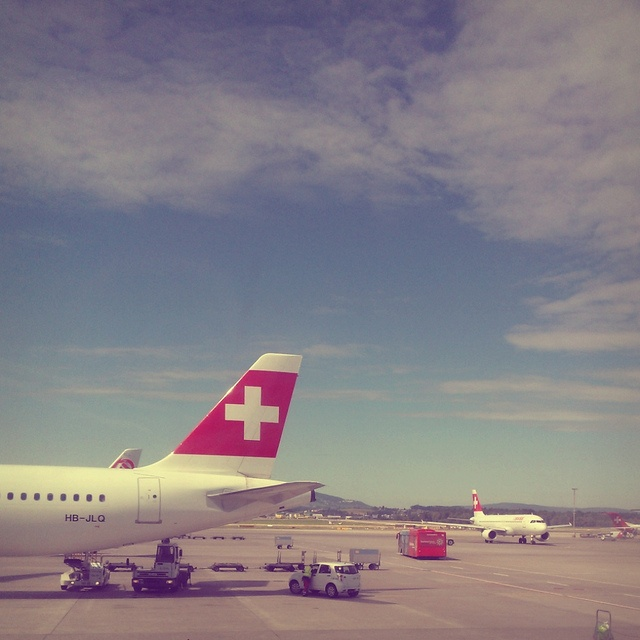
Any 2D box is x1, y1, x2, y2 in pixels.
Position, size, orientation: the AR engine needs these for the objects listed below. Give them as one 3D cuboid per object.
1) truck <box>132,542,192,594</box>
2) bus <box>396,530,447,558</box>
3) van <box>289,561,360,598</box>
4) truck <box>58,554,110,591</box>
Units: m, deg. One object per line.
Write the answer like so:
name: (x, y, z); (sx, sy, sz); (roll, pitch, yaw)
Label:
truck: (-8.441, 13.005, 38.965); (2.478, 1.907, 4.040); (1, -13, 3)
bus: (9.369, 20.297, 67.633); (2.441, 1.685, 6.234); (1, -7, -6)
van: (0.351, 13.412, 37.977); (3.447, 1.568, 1.013); (-6, -16, 27)
truck: (-12.801, 13.191, 38.434); (2.990, 1.083, 1.701); (-1, -7, 3)
